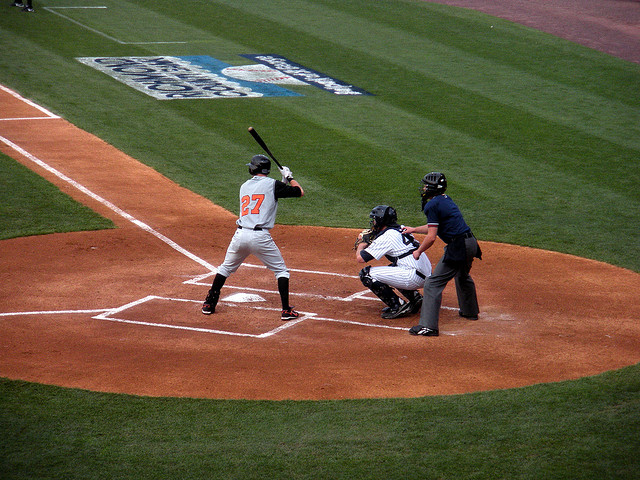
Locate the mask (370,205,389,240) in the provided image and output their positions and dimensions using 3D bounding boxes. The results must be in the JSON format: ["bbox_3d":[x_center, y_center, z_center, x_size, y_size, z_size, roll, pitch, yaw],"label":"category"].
[{"bbox_3d":[1.000,-0.320,17.912,0.271,0.597,0.196,18,15,13],"label":"mask"}]

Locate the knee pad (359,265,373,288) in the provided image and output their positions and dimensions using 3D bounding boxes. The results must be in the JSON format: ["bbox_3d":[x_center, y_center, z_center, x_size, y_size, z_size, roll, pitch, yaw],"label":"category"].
[{"bbox_3d":[0.809,0.670,17.881,0.243,0.373,0.361,13,12,-2],"label":"knee pad"}]

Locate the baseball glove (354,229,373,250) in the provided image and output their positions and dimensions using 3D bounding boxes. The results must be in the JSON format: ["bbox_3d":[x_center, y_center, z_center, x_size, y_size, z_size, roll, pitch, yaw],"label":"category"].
[{"bbox_3d":[0.819,-0.003,17.964,0.273,0.297,0.280,15,9,2],"label":"baseball glove"}]

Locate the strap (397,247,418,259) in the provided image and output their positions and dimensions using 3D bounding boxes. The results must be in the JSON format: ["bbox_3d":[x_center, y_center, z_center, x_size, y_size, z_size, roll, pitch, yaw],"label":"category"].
[{"bbox_3d":[1.534,0.246,17.730,0.330,0.053,0.205,-17,0,17],"label":"strap"}]

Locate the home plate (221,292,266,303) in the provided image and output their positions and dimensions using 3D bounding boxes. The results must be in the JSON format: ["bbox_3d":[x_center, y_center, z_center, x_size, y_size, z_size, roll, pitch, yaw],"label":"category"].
[{"bbox_3d":[-1.409,1.086,18.451,0.752,0.111,0.319,6,10,0],"label":"home plate"}]
